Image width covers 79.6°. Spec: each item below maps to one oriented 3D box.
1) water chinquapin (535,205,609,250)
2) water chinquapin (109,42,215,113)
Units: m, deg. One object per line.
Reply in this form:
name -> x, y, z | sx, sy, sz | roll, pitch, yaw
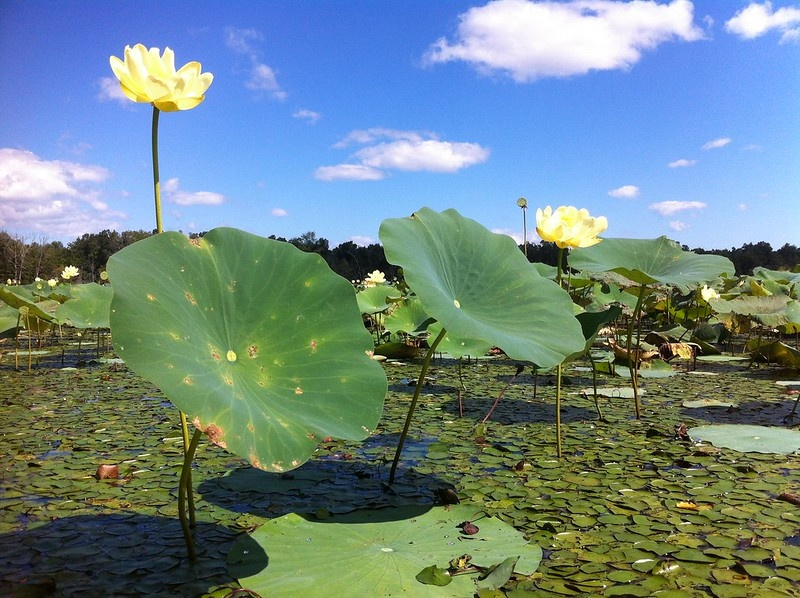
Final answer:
water chinquapin -> 1.045, -0.417, 2.822 | 0.323, 0.233, 0.464 | 3, 5, 37
water chinquapin -> -1.020, -0.867, 2.022 | 0.307, 0.128, 0.230 | 7, 14, -20
